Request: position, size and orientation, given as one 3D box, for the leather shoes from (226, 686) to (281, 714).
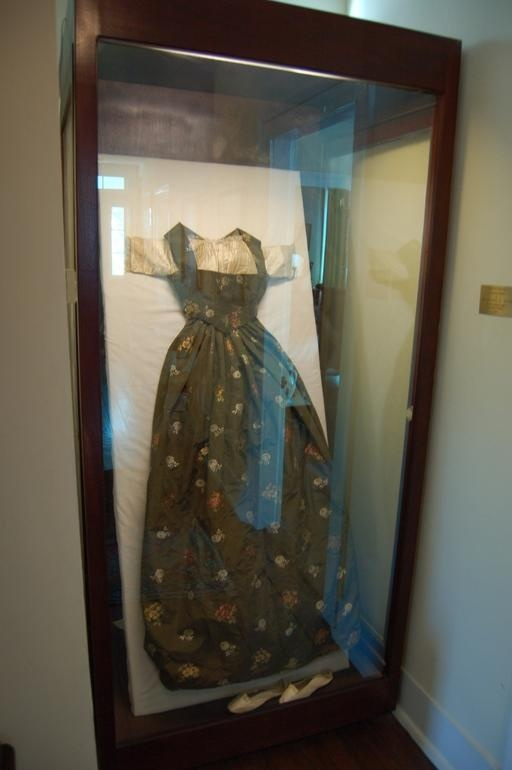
[{"bbox_3d":[-0.007,0.777,1.463,0.145,0.055,0.062,-19,-25,-12],"label":"leather shoes"}]
